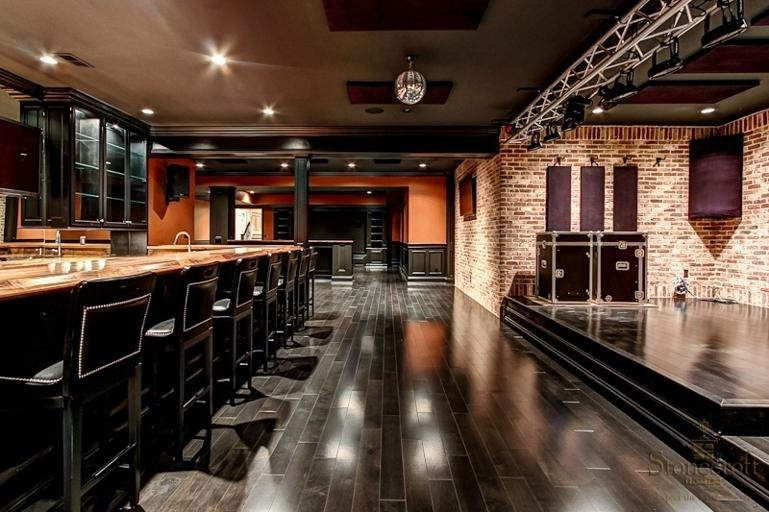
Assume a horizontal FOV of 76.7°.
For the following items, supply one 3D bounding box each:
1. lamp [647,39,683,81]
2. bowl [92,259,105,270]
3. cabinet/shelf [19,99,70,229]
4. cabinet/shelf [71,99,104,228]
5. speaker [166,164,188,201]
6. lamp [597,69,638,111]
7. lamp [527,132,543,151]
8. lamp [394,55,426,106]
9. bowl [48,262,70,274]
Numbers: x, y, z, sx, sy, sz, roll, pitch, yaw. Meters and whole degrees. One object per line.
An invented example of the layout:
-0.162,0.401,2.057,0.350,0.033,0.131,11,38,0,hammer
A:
3.146,-2.196,5.432,0.319,0.506,0.889,2,3,28,lamp
-2.632,0.083,4.457,0.076,0.047,0.076,-3,-3,0,bowl
-4.682,-1.265,6.765,0.650,1.698,0.205,1,3,9,cabinet/shelf
-4.352,-1.268,7.136,0.314,1.556,0.339,-1,3,-29,cabinet/shelf
-4.122,-1.453,9.678,0.416,0.713,0.247,0,3,-20,speaker
2.831,-2.068,5.894,0.395,0.465,0.913,2,3,24,lamp
2.256,-1.721,7.265,0.191,0.254,0.197,1,3,4,lamp
0.303,-2.030,5.641,0.405,0.535,0.408,10,19,36,lamp
-2.785,0.107,4.163,0.170,0.099,0.166,1,1,0,bowl
